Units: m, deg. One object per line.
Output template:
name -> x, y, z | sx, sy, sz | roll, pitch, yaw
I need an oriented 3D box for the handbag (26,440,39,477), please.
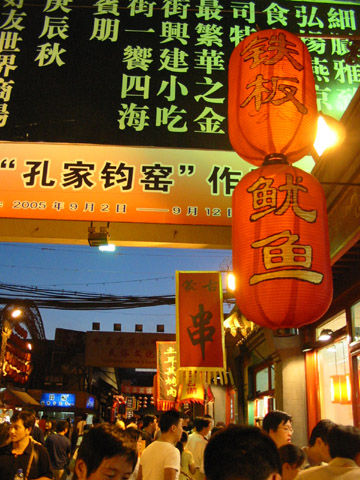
handbag -> -1.340, 2.004, 4.046 | 0.080, 0.276, 0.391 | 8, -25, -14

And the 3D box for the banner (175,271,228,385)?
banner -> 0.388, 1.599, 8.248 | 0.912, 2.086, 0.416 | 0, -25, 3

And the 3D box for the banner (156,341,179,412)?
banner -> -0.270, 3.759, 12.148 | 0.918, 1.891, 0.072 | -10, -19, 33

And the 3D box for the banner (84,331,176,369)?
banner -> -3.090, 6.717, 26.804 | 5.722, 2.035, 0.566 | 9, -18, -28
